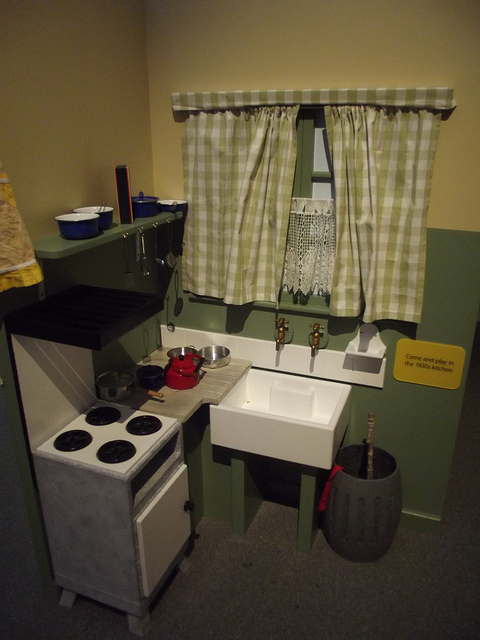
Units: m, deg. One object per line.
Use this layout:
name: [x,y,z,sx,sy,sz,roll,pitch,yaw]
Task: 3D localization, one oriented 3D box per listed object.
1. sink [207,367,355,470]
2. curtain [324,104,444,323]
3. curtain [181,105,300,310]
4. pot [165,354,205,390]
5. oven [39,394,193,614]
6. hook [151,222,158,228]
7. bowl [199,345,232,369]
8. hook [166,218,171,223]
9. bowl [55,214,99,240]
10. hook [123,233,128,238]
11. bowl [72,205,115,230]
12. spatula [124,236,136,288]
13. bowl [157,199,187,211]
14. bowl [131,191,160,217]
sink: [0.191,0.466,2.304,0.705,0.312,0.533,6,16,18]
curtain: [0.563,-0.424,1.986,0.442,0.885,0.175,4,12,17]
curtain: [-0.032,-0.503,2.229,0.644,0.893,0.188,7,13,25]
pot: [-0.264,0.216,2.198,0.100,0.150,0.181,3,8,14]
oven: [-0.463,0.716,1.917,0.333,0.705,0.431,11,25,21]
hook: [-0.364,-0.401,2.004,0.027,0.011,0.034,0,41,2]
bowl: [-0.129,0.184,2.488,0.174,0.073,0.176,0,16,0]
hook: [-0.328,-0.451,2.154,0.022,0.014,0.036,2,27,-1]
bowl: [-0.542,-0.309,1.581,0.132,0.075,0.179,-5,17,-18]
hook: [-0.425,-0.309,1.739,0.010,0.003,0.012,7,40,16]
bowl: [-0.526,-0.390,1.746,0.097,0.068,0.119,-3,17,-8]
spatula: [-0.508,-0.257,2.146,0.033,0.208,0.257,-3,15,-13]
bowl: [-0.317,-0.531,2.218,0.092,0.048,0.197,3,17,10]
bowl: [-0.414,-0.481,2.057,0.085,0.091,0.133,2,28,6]
